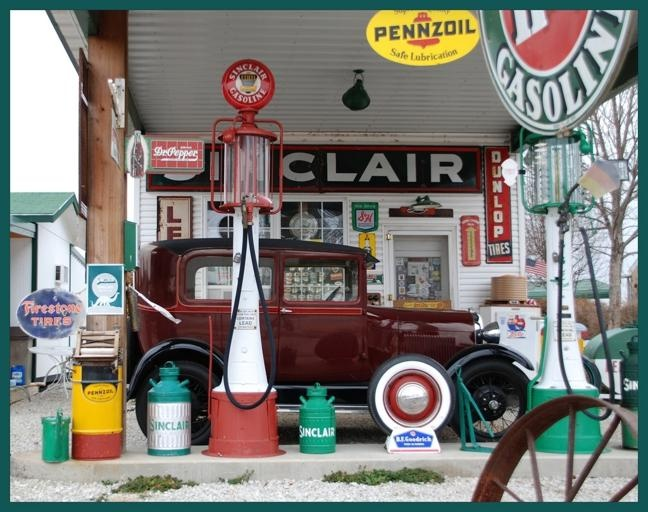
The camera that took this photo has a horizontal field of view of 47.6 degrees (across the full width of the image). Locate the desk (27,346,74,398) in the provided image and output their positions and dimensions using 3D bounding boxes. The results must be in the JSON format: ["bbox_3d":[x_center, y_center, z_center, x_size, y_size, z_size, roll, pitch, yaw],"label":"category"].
[{"bbox_3d":[-4.338,1.822,11.758,0.568,0.734,3.229,3,-8,-19],"label":"desk"}]

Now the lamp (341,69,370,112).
[{"bbox_3d":[0.454,-2.322,10.042,0.380,0.388,0.576,21,-46,17],"label":"lamp"}]

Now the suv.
[{"bbox_3d":[0.083,0.958,8.056,4.041,2.159,1.797,1,-7,-1],"label":"suv"}]
